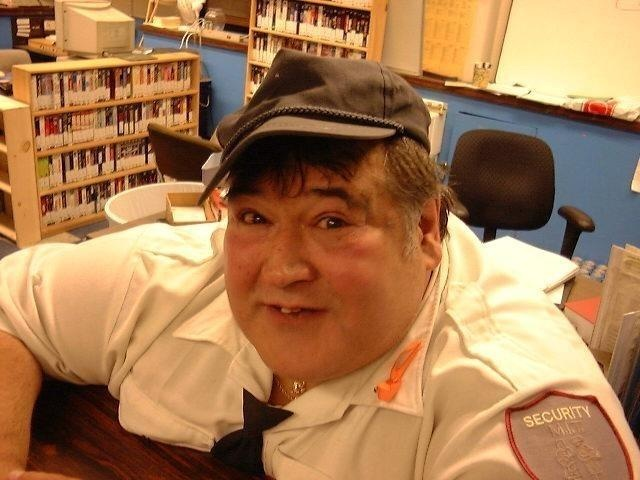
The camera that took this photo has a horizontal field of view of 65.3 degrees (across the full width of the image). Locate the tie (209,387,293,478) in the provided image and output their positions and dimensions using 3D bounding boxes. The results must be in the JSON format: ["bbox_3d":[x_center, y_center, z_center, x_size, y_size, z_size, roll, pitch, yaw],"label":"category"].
[{"bbox_3d":[-0.149,0.441,1.127,0.131,0.174,0.082,17,6,19],"label":"tie"}]

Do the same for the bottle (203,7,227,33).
[{"bbox_3d":[-1.253,-2.659,6.105,0.269,0.378,0.311,2,2,6],"label":"bottle"}]

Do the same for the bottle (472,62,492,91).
[{"bbox_3d":[1.413,-1.436,4.414,0.206,0.277,0.239,1,8,11],"label":"bottle"}]

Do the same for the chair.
[{"bbox_3d":[1.251,-0.308,2.989,0.707,0.969,0.600,2,32,7],"label":"chair"}]

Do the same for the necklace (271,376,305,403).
[{"bbox_3d":[-0.073,0.349,1.163,0.064,0.057,0.091,7,-14,12],"label":"necklace"}]
